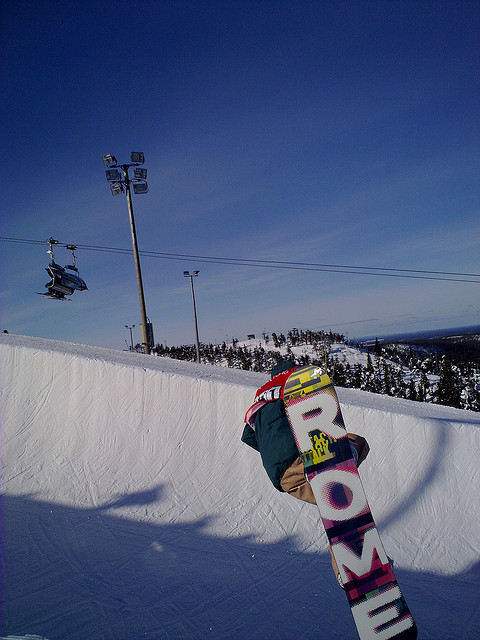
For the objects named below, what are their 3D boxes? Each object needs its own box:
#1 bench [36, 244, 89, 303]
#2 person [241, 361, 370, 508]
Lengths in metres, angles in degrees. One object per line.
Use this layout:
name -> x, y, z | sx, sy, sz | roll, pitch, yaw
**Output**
bench -> -5.617, -1.550, 16.454 | 0.612, 1.890, 1.842 | -3, -15, 37
person -> 0.558, 1.424, 6.080 | 1.203, 1.815, 0.423 | -14, -15, 16
